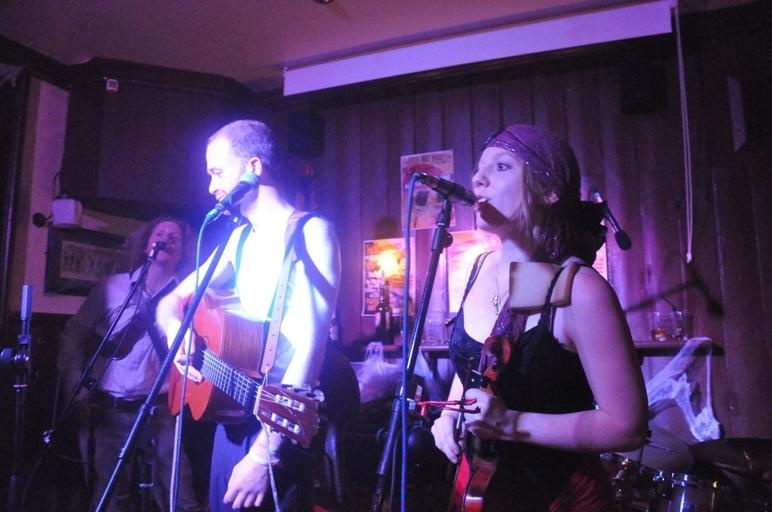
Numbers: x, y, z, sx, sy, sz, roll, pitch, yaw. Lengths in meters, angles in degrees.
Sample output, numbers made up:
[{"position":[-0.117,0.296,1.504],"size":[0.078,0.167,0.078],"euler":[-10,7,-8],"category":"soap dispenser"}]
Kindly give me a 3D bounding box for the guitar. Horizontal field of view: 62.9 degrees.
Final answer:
[{"position":[-0.969,0.823,4.221],"size":[1.504,1.007,0.255],"euler":[19,2,39],"category":"guitar"}]

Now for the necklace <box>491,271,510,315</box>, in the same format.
[{"position":[0.705,0.222,3.851],"size":[0.119,0.239,0.049],"euler":[-7,-30,27],"category":"necklace"}]

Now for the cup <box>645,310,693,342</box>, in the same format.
[{"position":[2.520,0.602,5.586],"size":[0.244,0.238,0.294],"euler":[0,0,32],"category":"cup"}]

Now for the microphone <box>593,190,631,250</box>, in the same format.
[{"position":[1.800,-0.274,4.982],"size":[0.097,0.577,0.096],"euler":[-26,-5,-33],"category":"microphone"}]

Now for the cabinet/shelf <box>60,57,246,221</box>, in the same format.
[{"position":[-2.375,-1.104,6.762],"size":[2.019,1.883,1.232],"euler":[7,-15,-18],"category":"cabinet/shelf"}]

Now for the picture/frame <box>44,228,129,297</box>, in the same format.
[{"position":[-2.991,0.071,6.225],"size":[0.585,0.610,0.071],"euler":[7,-7,-41],"category":"picture/frame"}]

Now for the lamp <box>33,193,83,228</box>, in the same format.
[{"position":[-3.165,-0.432,6.125],"size":[0.426,0.354,0.245],"euler":[-2,-5,13],"category":"lamp"}]

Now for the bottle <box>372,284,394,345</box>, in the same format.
[{"position":[-0.003,0.556,6.289],"size":[0.180,0.611,0.182],"euler":[2,-6,0],"category":"bottle"}]
